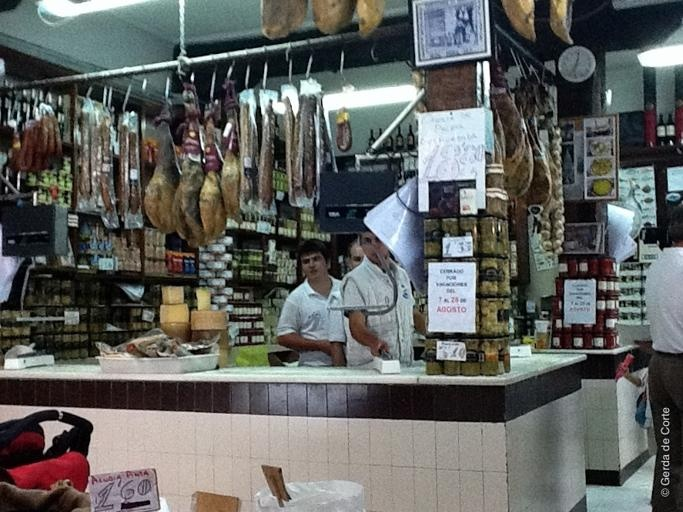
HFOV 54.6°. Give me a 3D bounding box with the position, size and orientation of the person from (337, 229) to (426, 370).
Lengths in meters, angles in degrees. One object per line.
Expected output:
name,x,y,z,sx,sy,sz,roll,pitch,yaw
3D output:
person,0.273,0.308,4.527,0.585,0.935,1.273,-1,-3,6

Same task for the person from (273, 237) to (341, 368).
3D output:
person,-0.209,0.290,5.403,0.420,1.137,0.400,1,3,25
